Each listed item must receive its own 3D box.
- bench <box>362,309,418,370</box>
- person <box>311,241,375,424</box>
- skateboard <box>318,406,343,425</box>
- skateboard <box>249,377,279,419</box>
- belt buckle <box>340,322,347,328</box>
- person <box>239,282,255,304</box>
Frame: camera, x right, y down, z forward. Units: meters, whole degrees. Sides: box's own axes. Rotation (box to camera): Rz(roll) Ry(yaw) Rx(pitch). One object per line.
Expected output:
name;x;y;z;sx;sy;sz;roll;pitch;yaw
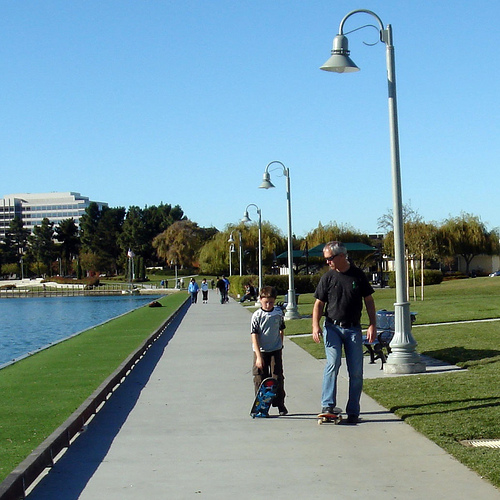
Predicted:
bench;2.275;1.584;13.035;0.709;1.059;1.326;6;-4;-14
person;1.061;0.901;8.213;0.683;2.014;0.419;-1;-1;10
skateboard;0.924;1.841;8.161;0.380;0.157;0.195;0;-2;-26
skateboard;0.175;1.701;8.522;0.216;0.113;0.823;6;-47;-11
belt buckle;1.041;0.826;8.123;0.064;0.060;0.014;-1;-1;7
person;-0.061;2.354;39.904;0.992;1.748;0.777;0;-3;4
